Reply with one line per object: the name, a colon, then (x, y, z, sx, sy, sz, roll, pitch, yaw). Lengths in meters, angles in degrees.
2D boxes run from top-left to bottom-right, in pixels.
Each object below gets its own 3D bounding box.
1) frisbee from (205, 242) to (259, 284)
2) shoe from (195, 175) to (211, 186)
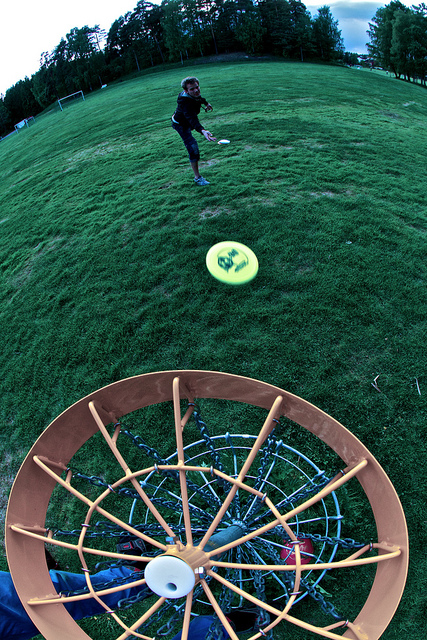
frisbee: (0.297, -0.918, 7.404, 0.698, 0.138, 0.685, 21, 57, 9)
shoe: (-0.219, -2.923, 9.597, 0.309, 0.195, 0.313, -14, 29, -4)
